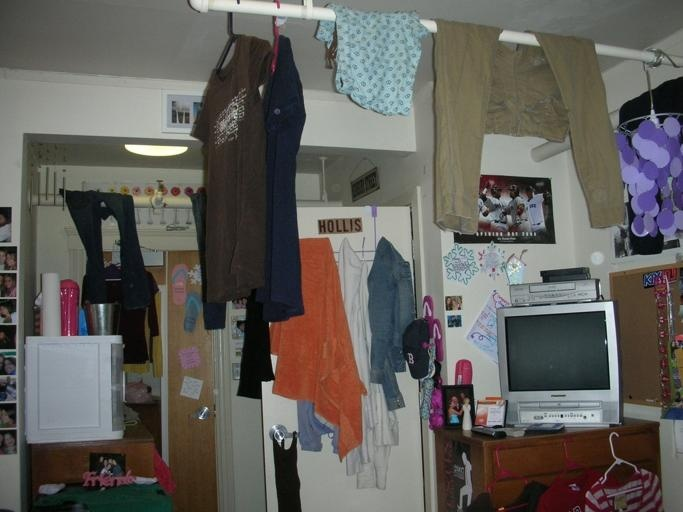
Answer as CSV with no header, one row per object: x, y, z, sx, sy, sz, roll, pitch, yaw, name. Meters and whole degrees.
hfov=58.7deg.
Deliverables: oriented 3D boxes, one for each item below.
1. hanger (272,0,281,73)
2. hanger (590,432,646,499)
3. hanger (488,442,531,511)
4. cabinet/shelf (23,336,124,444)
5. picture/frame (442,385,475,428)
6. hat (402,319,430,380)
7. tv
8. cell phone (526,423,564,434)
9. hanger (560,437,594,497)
-0.313,-1.008,2.865,0.040,0.296,0.119,-2,-5,-5,hanger
1.634,1.259,3.617,0.319,0.318,0.046,-3,-9,15,hanger
0.973,1.311,3.564,0.306,0.514,0.023,1,0,3,hanger
-1.578,0.719,3.642,0.511,0.676,0.318,3,16,-15,cabinet/shelf
0.785,1.012,4.058,0.234,0.333,0.030,1,-5,7,picture/frame
0.531,0.666,4.366,0.184,0.420,0.282,-4,-1,-26,hat
1.463,0.862,4.071,0.778,0.879,0.676,-3,-37,21,tv
1.273,1.079,3.778,0.169,0.021,0.136,-7,-1,-6,cell phone
1.356,1.236,3.519,0.180,0.363,0.035,-5,-24,6,hanger
